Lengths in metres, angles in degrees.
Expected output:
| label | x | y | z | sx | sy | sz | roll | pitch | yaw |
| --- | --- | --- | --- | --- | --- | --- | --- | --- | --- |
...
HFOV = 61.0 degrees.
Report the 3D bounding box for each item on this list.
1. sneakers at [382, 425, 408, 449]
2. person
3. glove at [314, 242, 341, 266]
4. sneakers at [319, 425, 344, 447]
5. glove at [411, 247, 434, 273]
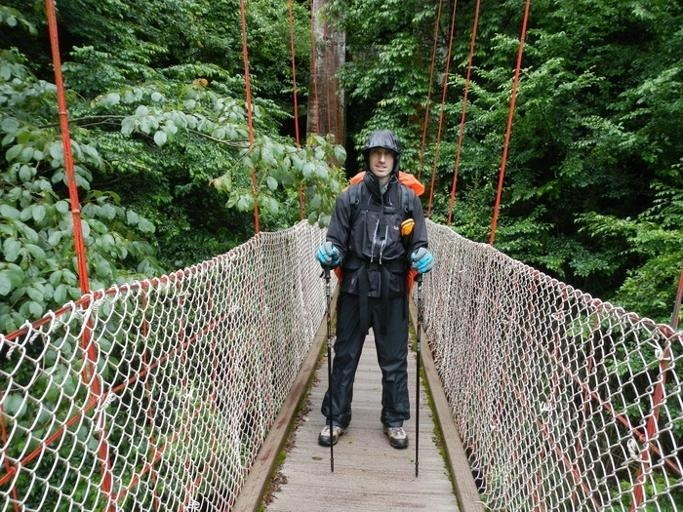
| label | x | y | z | sx | sy | sz | roll | pitch | yaw |
| --- | --- | --- | --- | --- | --- | --- | --- | --- | --- |
| sneakers | 0.365 | 1.205 | 3.905 | 0.081 | 0.095 | 0.205 | -1 | 6 | -8 |
| person | 0.217 | 0.230 | 3.806 | 0.644 | 2.021 | 0.547 | 2 | 15 | 7 |
| glove | -0.071 | 0.002 | 3.750 | 0.131 | 0.163 | 0.261 | 4 | -13 | 6 |
| sneakers | -0.090 | 1.192 | 3.834 | 0.080 | 0.109 | 0.223 | 0 | -12 | 11 |
| glove | 0.510 | 0.021 | 3.725 | 0.097 | 0.119 | 0.162 | 40 | -4 | -4 |
